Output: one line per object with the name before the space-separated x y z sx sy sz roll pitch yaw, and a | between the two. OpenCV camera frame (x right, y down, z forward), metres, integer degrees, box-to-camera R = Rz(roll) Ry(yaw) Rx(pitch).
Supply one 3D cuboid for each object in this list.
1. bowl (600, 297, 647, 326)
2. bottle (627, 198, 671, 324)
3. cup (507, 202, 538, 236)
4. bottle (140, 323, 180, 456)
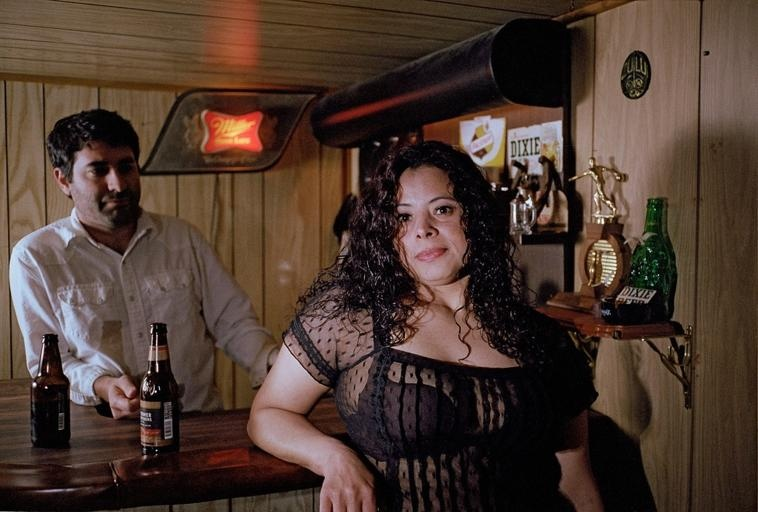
bowl | 0.960 0.213 2.683 0.121 0.051 0.092 -1 4 -16
bottle | 1.113 -0.001 2.769 0.170 0.463 0.242 1 10 4
cup | 0.679 -0.182 3.217 0.181 0.197 0.113 0 -1 10
bottle | -0.733 0.427 2.267 0.130 0.429 0.181 -3 11 -19
